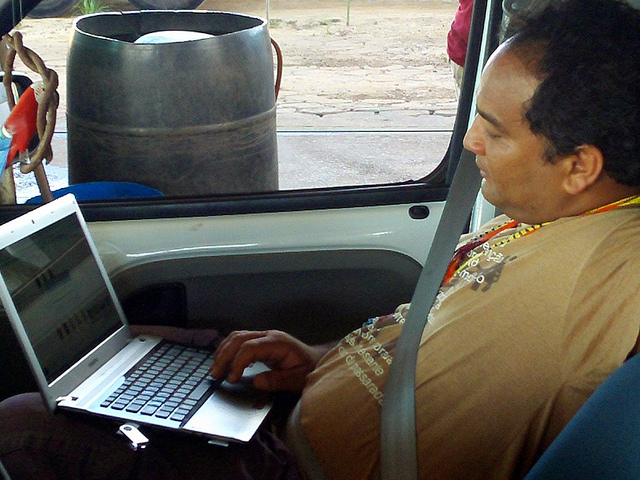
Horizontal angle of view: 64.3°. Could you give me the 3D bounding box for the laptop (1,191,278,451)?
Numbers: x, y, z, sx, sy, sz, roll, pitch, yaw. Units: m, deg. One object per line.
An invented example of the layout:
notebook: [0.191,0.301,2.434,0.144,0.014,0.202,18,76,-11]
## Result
laptop: [-0.385,0.182,1.142,0.663,0.384,0.439,12,18,1]

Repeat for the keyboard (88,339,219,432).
keyboard: [-0.330,0.298,1.062,0.206,0.266,0.015,19,28,-20]
